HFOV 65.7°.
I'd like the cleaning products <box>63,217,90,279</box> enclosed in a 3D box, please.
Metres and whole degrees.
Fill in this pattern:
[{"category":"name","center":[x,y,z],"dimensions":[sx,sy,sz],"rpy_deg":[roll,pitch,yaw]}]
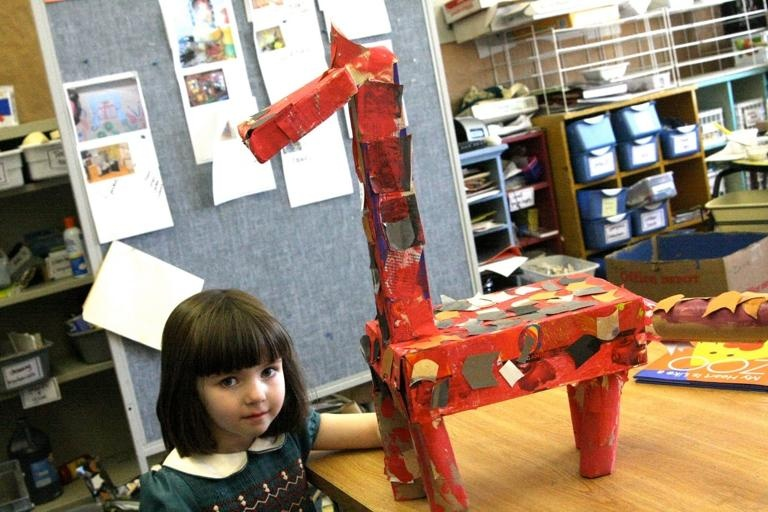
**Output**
[{"category":"cleaning products","center":[-1.311,-0.041,2.526],"dimensions":[0.075,0.249,0.111],"rpy_deg":[-12,9,-27]}]

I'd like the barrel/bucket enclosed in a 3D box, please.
[{"category":"barrel/bucket","center":[-1.561,0.900,2.649],"dimensions":[0.169,0.375,0.184],"rpy_deg":[-7,8,1]}]

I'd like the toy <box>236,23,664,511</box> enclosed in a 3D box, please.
[{"category":"toy","center":[0.118,0.020,1.075],"dimensions":[0.654,0.871,0.191],"rpy_deg":[-9,8,-11]}]

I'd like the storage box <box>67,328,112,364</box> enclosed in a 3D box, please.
[{"category":"storage box","center":[-1.251,0.384,2.543],"dimensions":[0.130,0.159,0.090],"rpy_deg":[-10,8,-19]}]
